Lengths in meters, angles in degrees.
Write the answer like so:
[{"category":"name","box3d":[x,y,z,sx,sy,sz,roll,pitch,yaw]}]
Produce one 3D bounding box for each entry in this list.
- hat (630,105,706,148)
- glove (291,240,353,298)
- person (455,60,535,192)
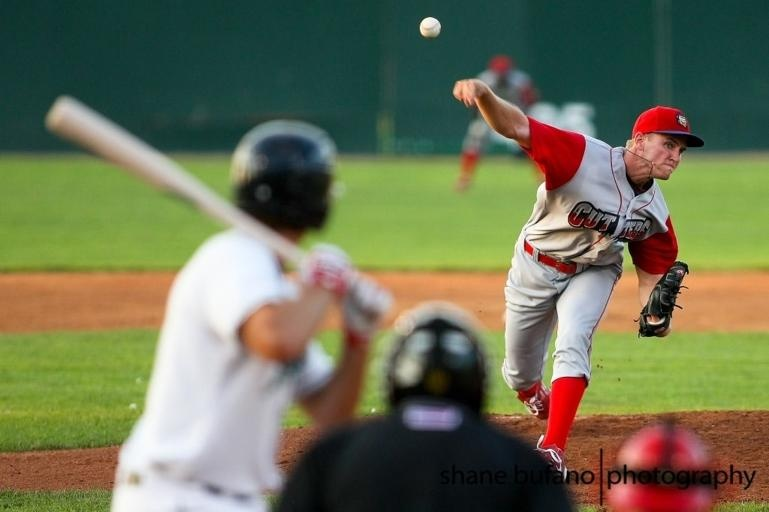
[{"category":"hat","box3d":[2.366,-1.102,8.994,0.445,0.271,0.580,4,2,-44]},{"category":"glove","box3d":[-0.428,0.114,6.583,0.291,0.345,0.366,-10,-19,37]},{"category":"person","box3d":[2.432,-2.846,23.381,1.365,3.065,1.089,3,40,2]}]
